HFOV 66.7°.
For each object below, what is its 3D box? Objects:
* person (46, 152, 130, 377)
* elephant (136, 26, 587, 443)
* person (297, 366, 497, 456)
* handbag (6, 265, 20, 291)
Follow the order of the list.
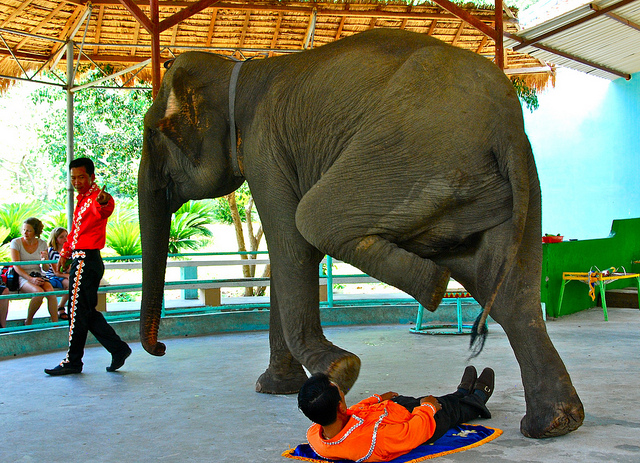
[{"bbox_3d":[-2.369,0.346,4.942,0.744,2.193,0.341,-3,-3,15],"label":"person"},{"bbox_3d":[-0.045,-0.118,3.626,3.491,2.309,1.405,11,19,35],"label":"elephant"},{"bbox_3d":[0.467,0.981,2.917,1.141,0.406,0.563,-8,6,-25],"label":"person"},{"bbox_3d":[-4.030,0.631,6.372,0.130,0.316,0.229,-1,-3,-26],"label":"handbag"}]
